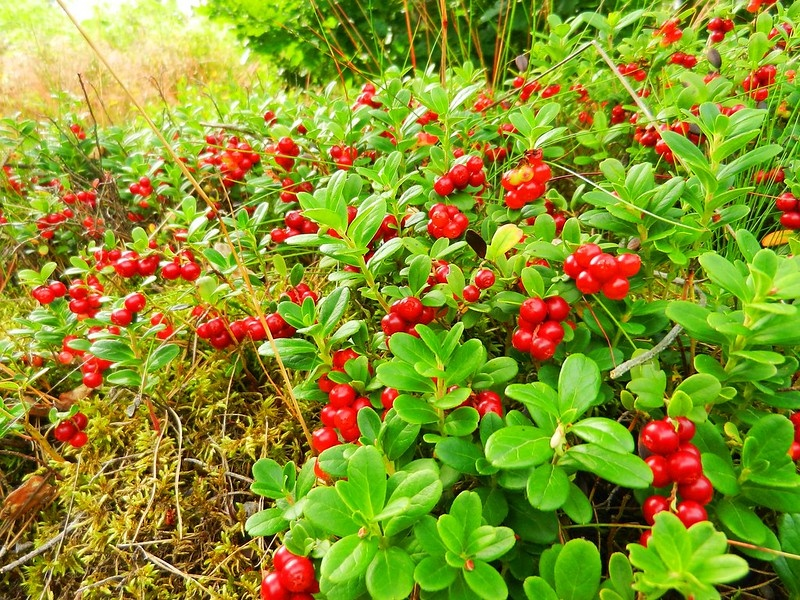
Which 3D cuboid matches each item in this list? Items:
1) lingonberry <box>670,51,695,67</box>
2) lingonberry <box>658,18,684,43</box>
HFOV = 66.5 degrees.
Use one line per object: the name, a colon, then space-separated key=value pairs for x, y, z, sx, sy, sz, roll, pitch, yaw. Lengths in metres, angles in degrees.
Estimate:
lingonberry: x=1.861 y=-1.572 z=3.997 sx=0.073 sy=0.087 sz=0.149 roll=-25 pitch=32 yaw=-18
lingonberry: x=1.789 y=-1.765 z=4.024 sx=0.181 sy=0.139 sz=0.076 roll=-50 pitch=8 yaw=-38
